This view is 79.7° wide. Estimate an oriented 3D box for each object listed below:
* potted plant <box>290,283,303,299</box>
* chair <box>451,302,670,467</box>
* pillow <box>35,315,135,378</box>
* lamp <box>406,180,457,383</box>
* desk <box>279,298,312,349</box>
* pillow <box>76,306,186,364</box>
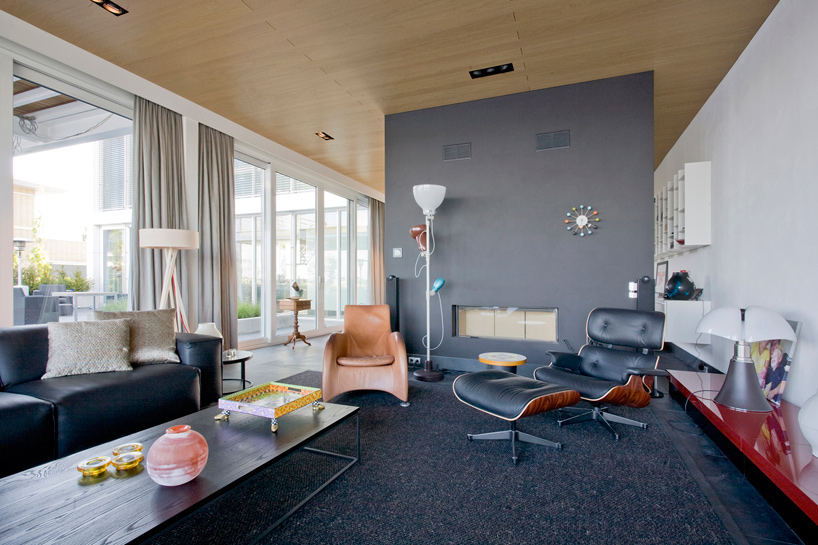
[{"bbox_3d":[-1.941,0.312,8.367,0.166,0.262,0.426,-3,0,-16],"label":"potted plant"},{"bbox_3d":[1.518,0.923,4.586,1.927,1.054,1.160,-2,2,-37],"label":"chair"},{"bbox_3d":[-2.921,0.690,4.472,0.671,0.527,0.323,0,-17,-33],"label":"pillow"},{"bbox_3d":[0.280,0.104,6.286,0.509,2.277,0.787,-3,0,5],"label":"lamp"},{"bbox_3d":[-1.953,0.815,8.271,0.479,0.781,0.667,-3,0,-27],"label":"desk"},{"bbox_3d":[-2.519,0.608,4.732,0.671,0.592,0.189,4,-17,-28],"label":"pillow"}]
